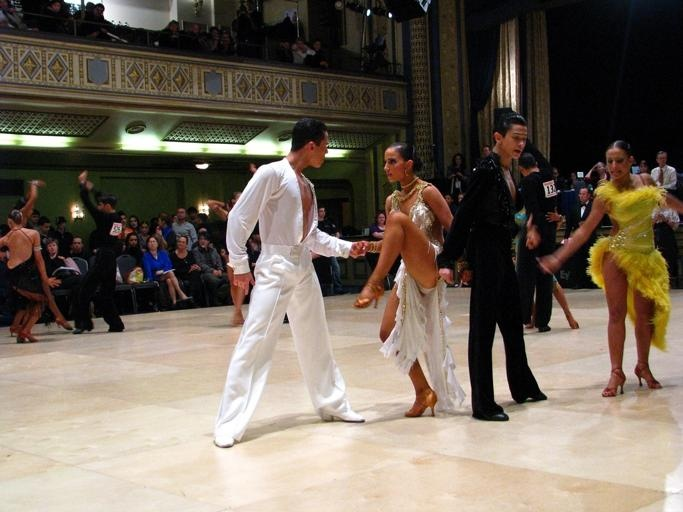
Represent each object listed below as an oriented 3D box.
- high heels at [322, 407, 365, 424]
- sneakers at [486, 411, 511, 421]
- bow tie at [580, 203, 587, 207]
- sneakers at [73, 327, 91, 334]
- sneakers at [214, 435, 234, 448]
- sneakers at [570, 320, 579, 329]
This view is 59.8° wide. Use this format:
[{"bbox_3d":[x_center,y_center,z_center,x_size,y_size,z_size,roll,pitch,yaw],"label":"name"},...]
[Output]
[{"bbox_3d":[0.011,1.118,4.208,0.307,0.134,0.116,-2,-3,6],"label":"high heels"},{"bbox_3d":[1.055,1.072,4.004,0.113,0.048,0.065,-3,-3,0],"label":"sneakers"},{"bbox_3d":[5.254,-1.117,12.891,0.174,0.056,0.187,-14,-9,38],"label":"bow tie"},{"bbox_3d":[-4.412,1.267,10.067,0.295,0.133,0.111,7,-3,-15],"label":"sneakers"},{"bbox_3d":[-0.721,1.146,3.665,0.124,0.061,0.095,-6,6,-12],"label":"sneakers"},{"bbox_3d":[3.170,0.936,8.106,0.077,0.151,0.042,11,-12,-25],"label":"sneakers"}]
